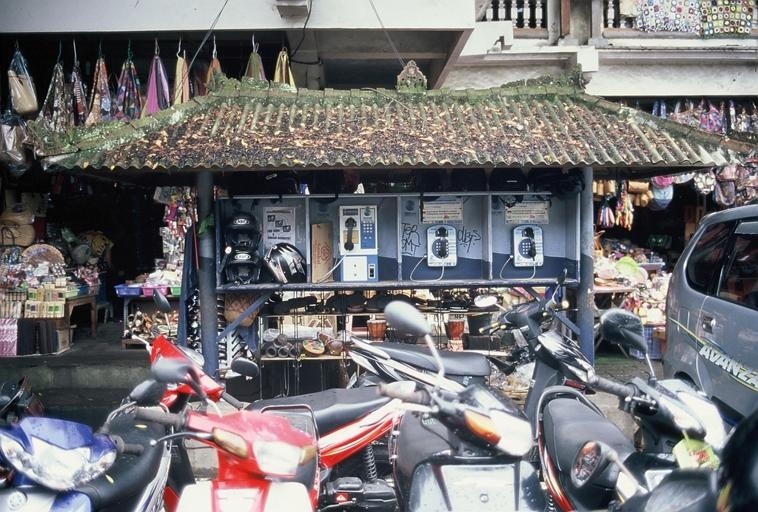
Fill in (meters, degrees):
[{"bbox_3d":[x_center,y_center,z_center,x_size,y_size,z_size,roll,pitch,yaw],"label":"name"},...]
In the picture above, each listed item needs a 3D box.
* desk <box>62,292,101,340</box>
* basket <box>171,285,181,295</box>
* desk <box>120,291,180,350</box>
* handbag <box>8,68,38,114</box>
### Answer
[{"bbox_3d":[-5.233,1.022,17.520,0.613,0.620,0.491,-9,2,-30],"label":"desk"},{"bbox_3d":[-3.451,0.585,16.892,0.233,0.192,0.196,-1,-2,-4],"label":"basket"},{"bbox_3d":[-3.933,1.128,17.273,1.059,1.069,1.141,2,-14,-4],"label":"desk"},{"bbox_3d":[-5.760,-2.646,16.143,0.385,0.701,0.240,-8,6,-34],"label":"handbag"}]
